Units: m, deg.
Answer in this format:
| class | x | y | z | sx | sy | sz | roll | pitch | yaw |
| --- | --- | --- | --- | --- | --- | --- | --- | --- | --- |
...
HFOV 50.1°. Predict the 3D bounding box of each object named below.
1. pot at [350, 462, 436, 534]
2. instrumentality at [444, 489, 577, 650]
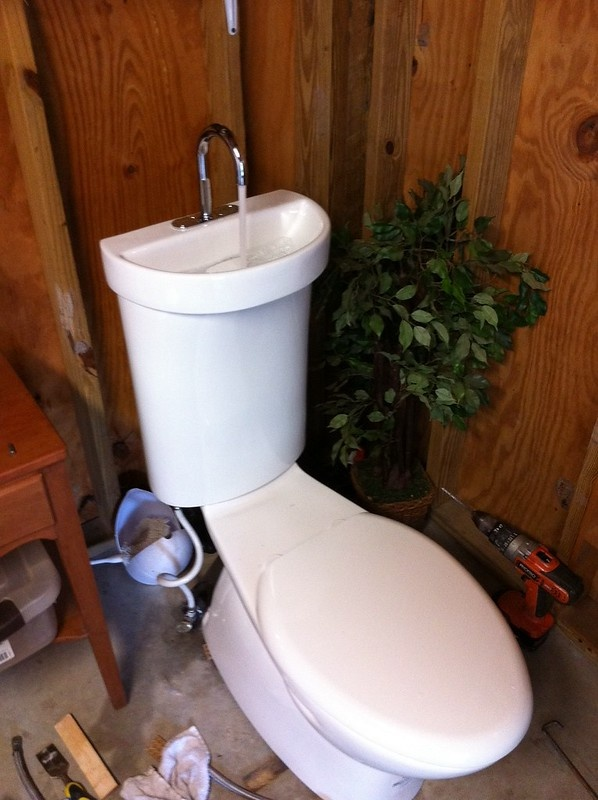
| class | x | y | z | sx | sy | sz | roll | pitch | yaw |
| --- | --- | --- | --- | --- | --- | --- | --- | --- | --- |
| pot | 0.214 | 0.220 | 1.535 | 0.151 | 0.131 | 0.172 | -26 | 40 | -19 |
| instrumentality | 0.430 | 0.367 | 1.277 | 0.094 | 0.216 | 0.226 | -23 | 47 | -36 |
